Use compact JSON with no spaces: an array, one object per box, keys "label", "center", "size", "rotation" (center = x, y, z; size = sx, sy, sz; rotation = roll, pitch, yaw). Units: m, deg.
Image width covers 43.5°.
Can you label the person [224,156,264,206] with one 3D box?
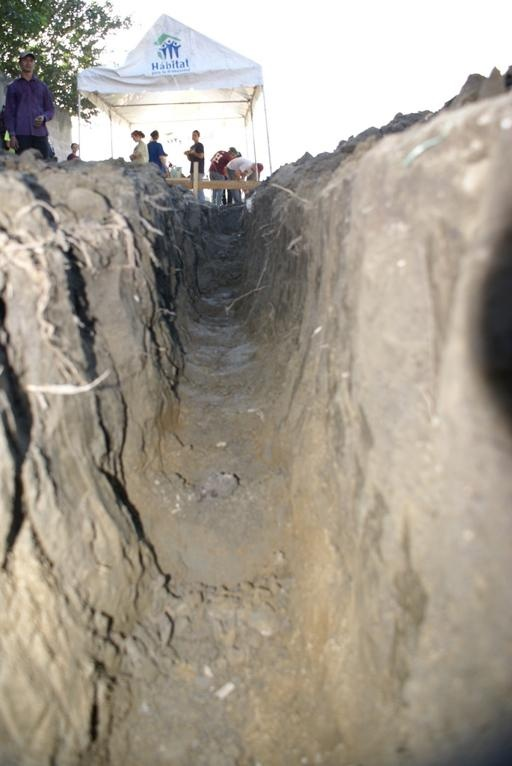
[{"label":"person","center":[-0.181,-2.371,7.377],"size":[0.212,0.801,0.235],"rotation":[-15,-29,18]}]
